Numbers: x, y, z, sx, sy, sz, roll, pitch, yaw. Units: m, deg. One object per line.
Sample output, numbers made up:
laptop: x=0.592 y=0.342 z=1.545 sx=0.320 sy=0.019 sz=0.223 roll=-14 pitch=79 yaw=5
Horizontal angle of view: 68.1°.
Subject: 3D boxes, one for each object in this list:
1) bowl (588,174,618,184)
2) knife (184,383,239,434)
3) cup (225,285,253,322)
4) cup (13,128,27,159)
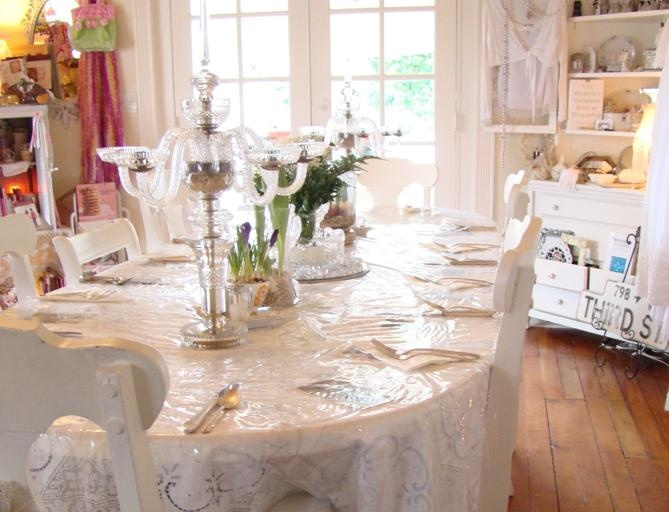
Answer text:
bowl: x=1.676 y=-0.477 z=3.100 sx=0.081 sy=0.040 sz=0.114 roll=0 pitch=1 yaw=-1
knife: x=-0.221 y=0.271 z=0.900 sx=0.030 sy=0.018 sz=0.128 roll=5 pitch=12 yaw=10
cup: x=-0.262 y=0.127 z=1.354 sx=0.062 sy=0.077 sz=0.065 roll=-5 pitch=2 yaw=0
cup: x=-2.376 y=-0.836 z=3.731 sx=0.106 sy=0.210 sz=0.178 roll=-11 pitch=20 yaw=-31
